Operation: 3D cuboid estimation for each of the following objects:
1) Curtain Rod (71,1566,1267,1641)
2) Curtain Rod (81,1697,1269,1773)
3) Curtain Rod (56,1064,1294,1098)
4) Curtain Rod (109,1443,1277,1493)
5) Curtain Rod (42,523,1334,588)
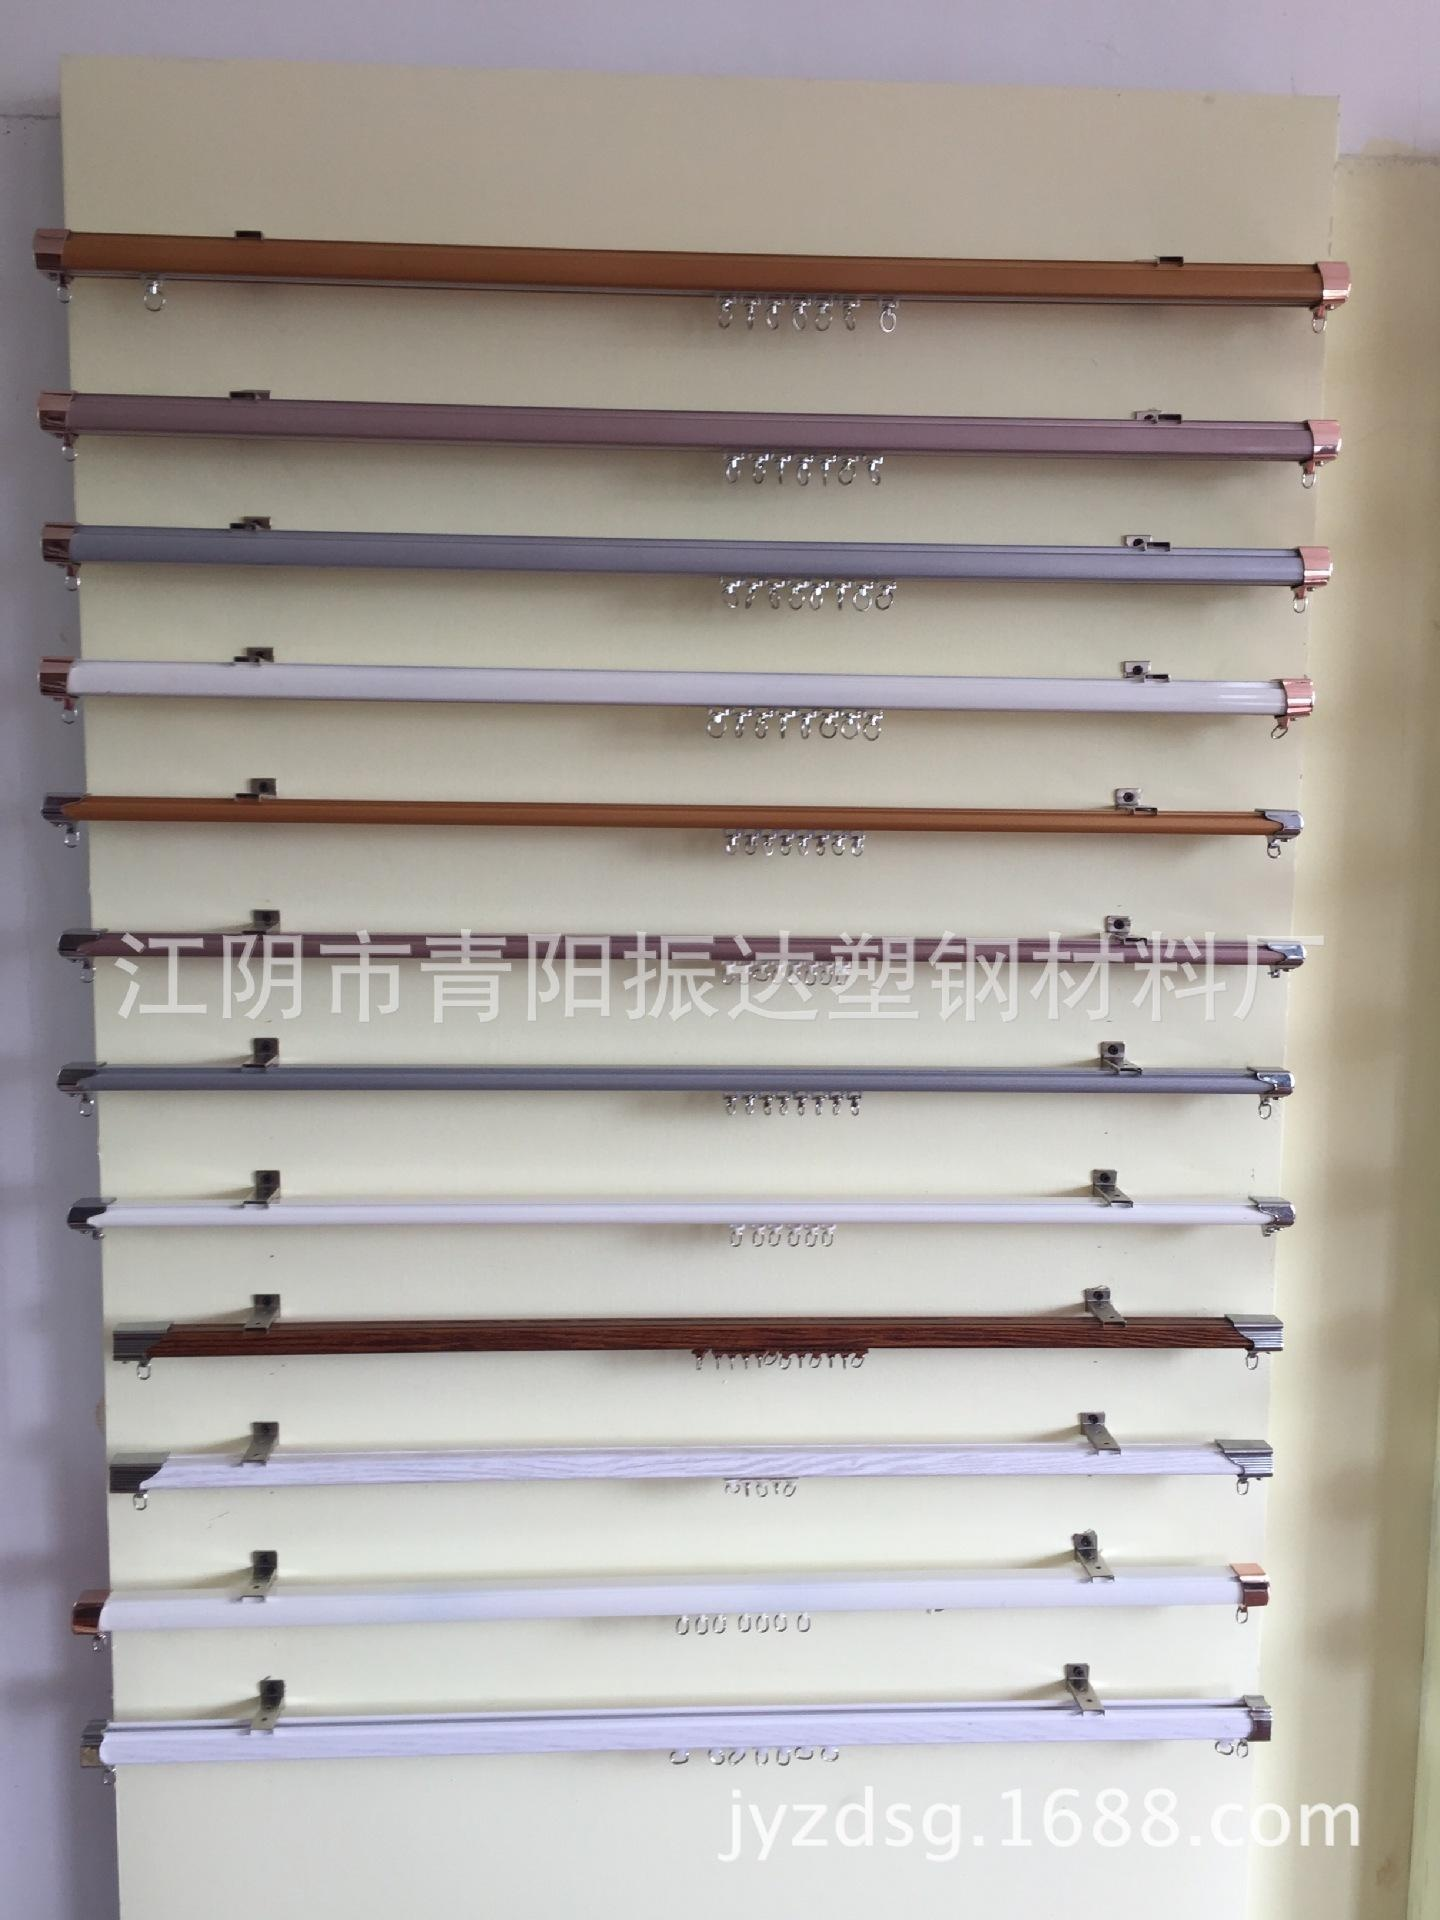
[{"bbox_3d":[-0.104,0.843,3.033,1.918,0.081,0.105,0,-7,-5],"label":"Curtain Rod"},{"bbox_3d":[-0.102,1.020,3.050,1.504,0.067,0.111,0,11,-3],"label":"Curtain Rod"},{"bbox_3d":[-0.047,0.152,2.983,1.576,0.054,0.091,0,-19,-2],"label":"Curtain Rod"},{"bbox_3d":[-0.031,0.666,3.030,1.510,0.061,0.086,0,-19,-1],"label":"Curtain Rod"},{"bbox_3d":[-0.092,-0.508,2.915,1.309,0.070,0.079,0,-12,0],"label":"Curtain Rod"}]
